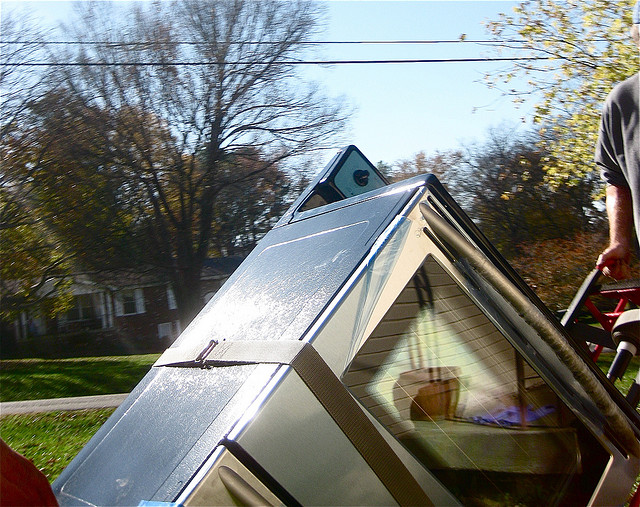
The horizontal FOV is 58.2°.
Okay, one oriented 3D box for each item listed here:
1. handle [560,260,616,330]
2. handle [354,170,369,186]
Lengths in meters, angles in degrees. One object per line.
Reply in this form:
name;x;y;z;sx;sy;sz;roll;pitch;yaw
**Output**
handle;1.404;0.240;3.063;0.105;0.366;0.091;25;7;-43
handle;0.261;-0.458;3.514;0.024;0.093;0.100;-15;20;50
